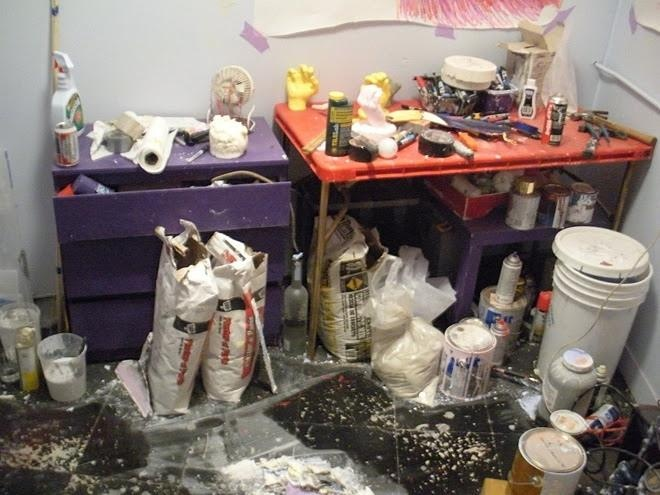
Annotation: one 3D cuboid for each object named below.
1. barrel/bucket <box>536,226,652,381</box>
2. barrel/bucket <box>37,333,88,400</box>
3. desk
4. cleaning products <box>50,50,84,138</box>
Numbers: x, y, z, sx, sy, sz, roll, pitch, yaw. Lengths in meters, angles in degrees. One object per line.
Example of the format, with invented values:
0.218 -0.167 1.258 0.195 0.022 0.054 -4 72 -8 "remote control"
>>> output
1.059 0.262 2.357 0.409 0.671 0.423 1 34 0 "barrel/bucket"
-1.111 0.499 2.174 0.175 0.206 0.176 5 34 -4 "barrel/bucket"
0.390 -0.291 2.792 1.831 1.043 1.078 -6 30 -16 "desk"
-1.046 -0.593 2.051 0.097 0.323 0.252 -6 24 -19 "cleaning products"
